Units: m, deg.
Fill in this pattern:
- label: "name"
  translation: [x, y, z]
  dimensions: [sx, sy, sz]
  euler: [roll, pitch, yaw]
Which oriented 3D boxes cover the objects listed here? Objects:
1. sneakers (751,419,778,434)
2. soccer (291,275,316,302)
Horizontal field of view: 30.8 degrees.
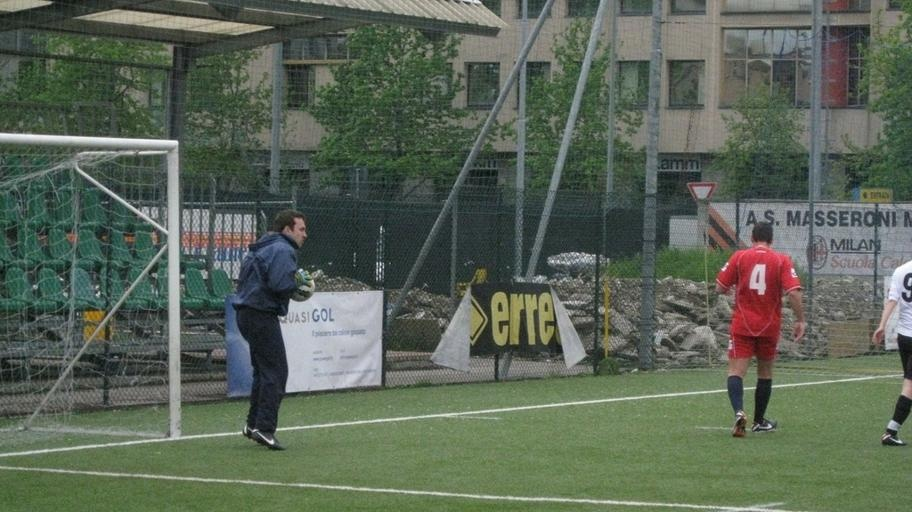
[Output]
- label: "sneakers"
  translation: [7.005, 3.888, 37.579]
  dimensions: [0.561, 0.232, 0.254]
  euler: [-8, 11, -16]
- label: "soccer"
  translation: [-3.515, 0.743, 36.892]
  dimensions: [0.446, 0.549, 0.595]
  euler: [7, -4, 38]
